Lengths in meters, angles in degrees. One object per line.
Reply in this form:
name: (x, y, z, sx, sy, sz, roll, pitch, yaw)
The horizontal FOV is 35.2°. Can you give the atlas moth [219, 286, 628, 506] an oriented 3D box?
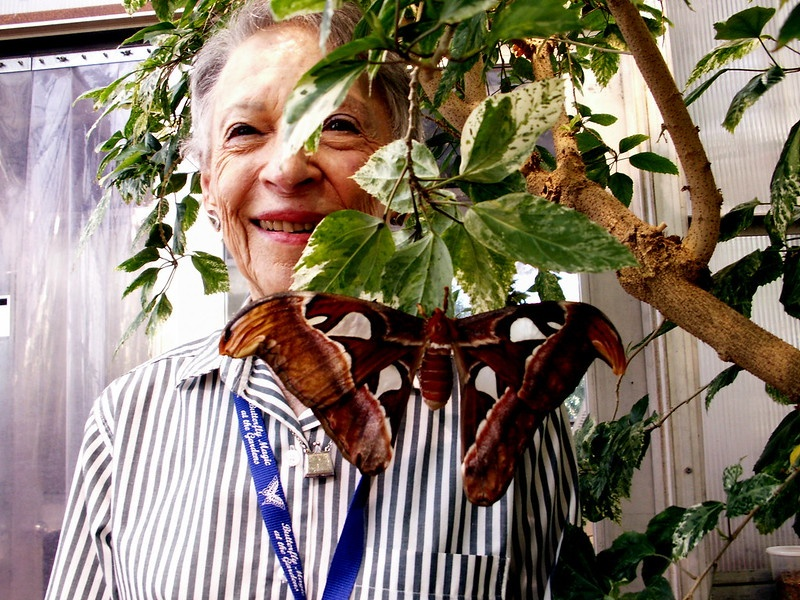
atlas moth: (0.067, 0.221, 2.899, 0.872, 0.386, 0.363, 3, -53, 10)
